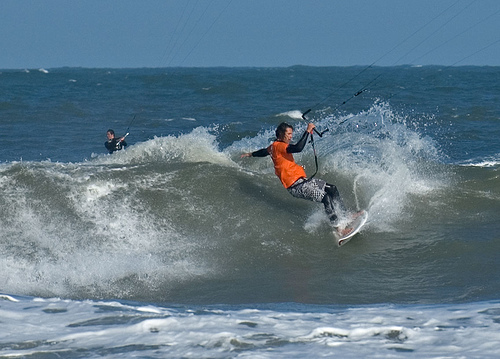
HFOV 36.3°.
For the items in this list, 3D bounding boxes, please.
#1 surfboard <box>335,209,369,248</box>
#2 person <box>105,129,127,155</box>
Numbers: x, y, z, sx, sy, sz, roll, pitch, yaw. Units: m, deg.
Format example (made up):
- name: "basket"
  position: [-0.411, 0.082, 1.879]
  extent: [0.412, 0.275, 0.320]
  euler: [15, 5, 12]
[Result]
- name: "surfboard"
  position: [2.445, 1.106, 18.004]
  extent: [0.380, 1.365, 0.210]
  euler: [35, -23, 38]
- name: "person"
  position: [-4.304, -1.204, 24.674]
  extent: [0.629, 0.731, 0.436]
  euler: [8, 9, -10]
